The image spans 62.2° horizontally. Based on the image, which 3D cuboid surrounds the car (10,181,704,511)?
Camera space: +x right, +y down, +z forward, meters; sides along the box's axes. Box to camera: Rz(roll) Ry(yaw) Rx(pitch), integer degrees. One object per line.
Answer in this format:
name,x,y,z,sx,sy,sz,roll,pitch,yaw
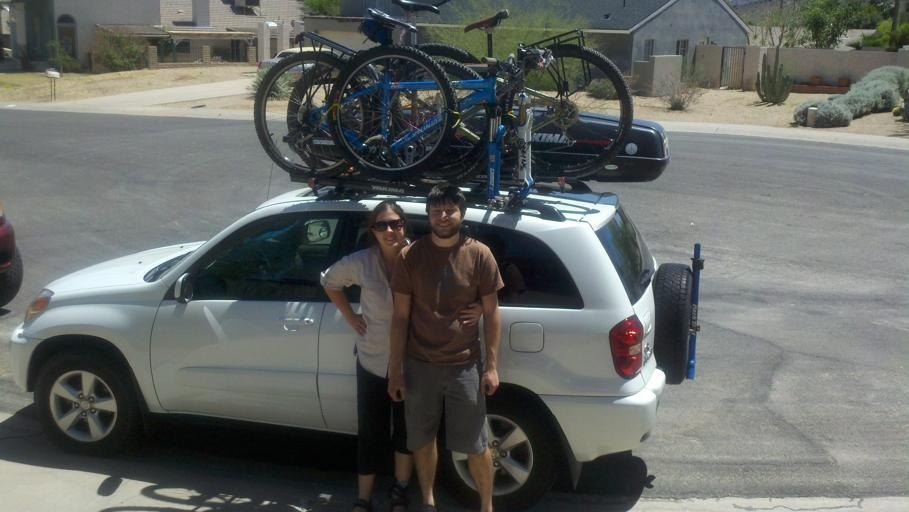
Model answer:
car,-1.201,0.756,8.948,7.447,2.701,3.120,4,6,10
